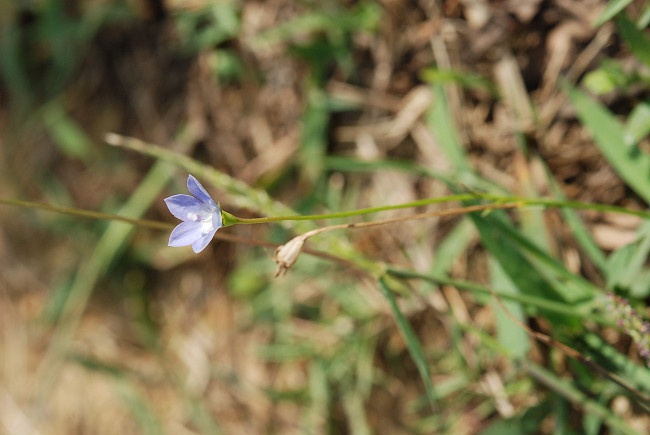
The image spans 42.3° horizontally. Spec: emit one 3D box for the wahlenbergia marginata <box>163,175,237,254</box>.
[{"bbox_3d":[-0.288,-0.002,1.913,0.129,0.064,0.184,-5,92,42],"label":"wahlenbergia marginata"}]
